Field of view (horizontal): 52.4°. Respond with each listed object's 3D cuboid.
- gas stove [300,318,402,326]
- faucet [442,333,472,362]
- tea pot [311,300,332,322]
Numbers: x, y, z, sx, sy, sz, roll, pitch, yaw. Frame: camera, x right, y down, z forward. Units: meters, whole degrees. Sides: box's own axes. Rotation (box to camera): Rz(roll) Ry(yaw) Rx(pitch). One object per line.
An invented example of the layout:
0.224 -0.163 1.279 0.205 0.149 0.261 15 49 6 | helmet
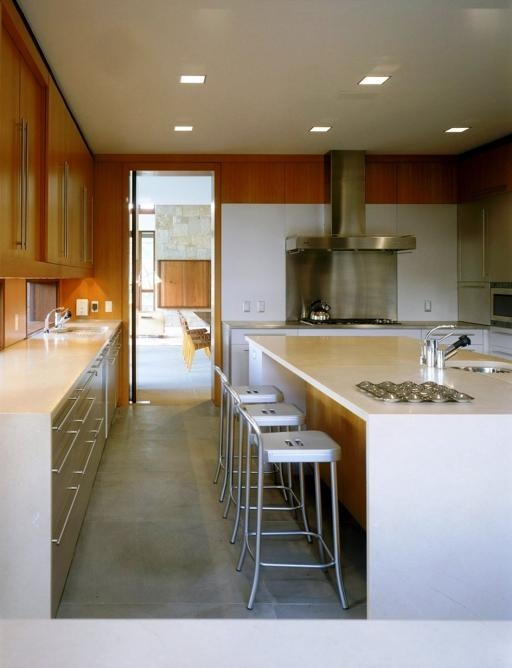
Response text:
1.006 -0.149 5.750 1.053 0.077 0.616 1 3 5 | gas stove
1.300 0.085 3.381 0.082 0.074 0.244 13 -31 0 | faucet
0.722 -0.265 5.841 0.197 0.238 0.226 0 -1 -2 | tea pot
